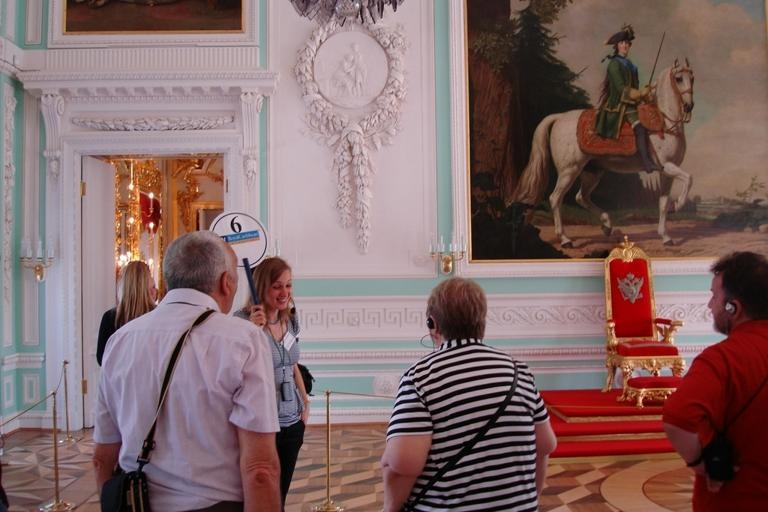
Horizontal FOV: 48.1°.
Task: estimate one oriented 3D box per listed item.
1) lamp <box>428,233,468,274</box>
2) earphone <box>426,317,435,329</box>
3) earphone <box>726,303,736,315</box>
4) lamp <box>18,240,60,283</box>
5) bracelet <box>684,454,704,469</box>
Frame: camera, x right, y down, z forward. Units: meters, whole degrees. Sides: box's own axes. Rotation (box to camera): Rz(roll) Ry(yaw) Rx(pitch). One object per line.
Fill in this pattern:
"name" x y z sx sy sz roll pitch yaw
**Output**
"lamp" 0.882 -0.029 12.157 0.489 0.587 0.276 1 -6 -9
"earphone" 0.433 0.638 8.200 0.067 0.084 0.094 0 43 -6
"earphone" 3.312 0.511 8.262 0.067 0.095 0.093 -4 14 -17
"lamp" -4.766 0.096 11.894 0.512 0.756 0.304 0 -11 -10
"bracelet" 2.952 1.970 8.234 0.131 0.053 0.111 -21 -3 31
